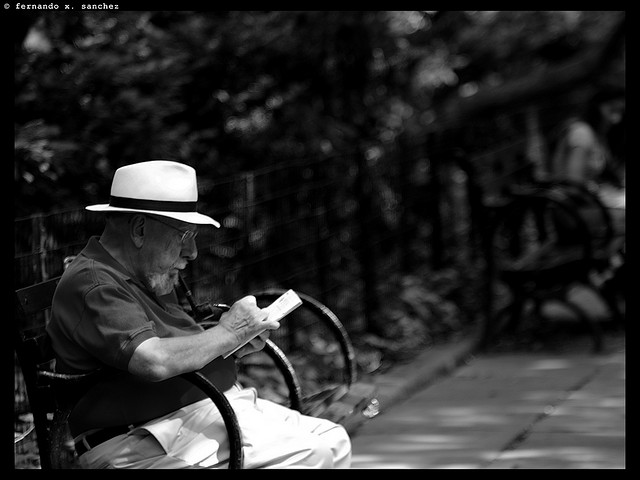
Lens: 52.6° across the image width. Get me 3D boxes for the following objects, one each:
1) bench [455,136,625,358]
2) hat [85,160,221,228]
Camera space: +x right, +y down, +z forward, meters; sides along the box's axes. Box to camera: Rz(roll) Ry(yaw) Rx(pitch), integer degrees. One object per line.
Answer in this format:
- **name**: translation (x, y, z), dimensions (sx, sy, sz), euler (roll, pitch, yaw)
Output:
- **bench**: translation (1.985, -0.033, 5.686), dimensions (1.755, 2.185, 1.366), euler (-2, 3, 24)
- **hat**: translation (-0.803, -0.239, 3.143), dimensions (0.670, 0.276, 0.527), euler (4, 11, 0)
